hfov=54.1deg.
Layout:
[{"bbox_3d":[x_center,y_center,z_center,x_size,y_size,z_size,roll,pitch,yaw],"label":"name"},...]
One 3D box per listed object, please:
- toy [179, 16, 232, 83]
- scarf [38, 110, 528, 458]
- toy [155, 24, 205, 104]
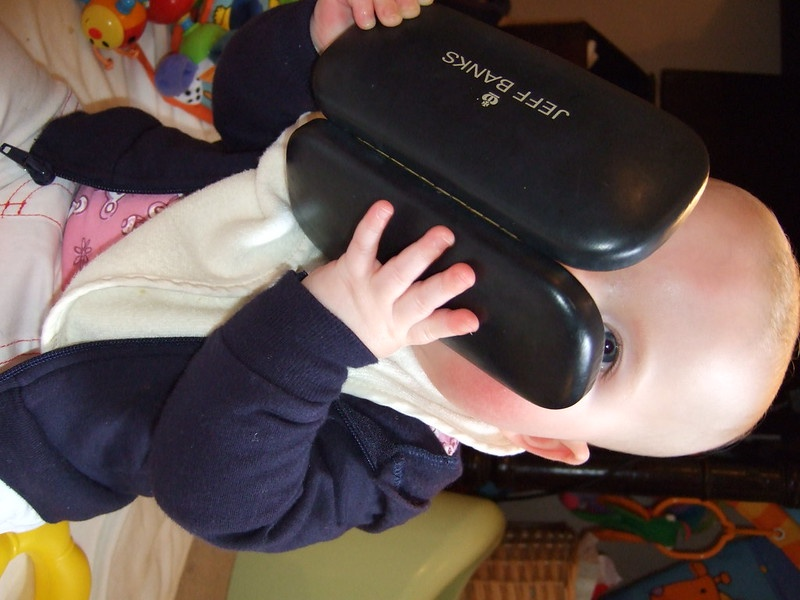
[{"bbox_3d":[-0.395,-0.511,1.584,0.092,0.122,0.056,18,-1,-21],"label":"toy"},{"bbox_3d":[-0.193,0.070,1.219,0.603,0.524,0.263,9,-46,-31],"label":"scarf"},{"bbox_3d":[-0.443,-0.479,1.593,0.069,0.146,0.095,8,18,-31],"label":"toy"}]
